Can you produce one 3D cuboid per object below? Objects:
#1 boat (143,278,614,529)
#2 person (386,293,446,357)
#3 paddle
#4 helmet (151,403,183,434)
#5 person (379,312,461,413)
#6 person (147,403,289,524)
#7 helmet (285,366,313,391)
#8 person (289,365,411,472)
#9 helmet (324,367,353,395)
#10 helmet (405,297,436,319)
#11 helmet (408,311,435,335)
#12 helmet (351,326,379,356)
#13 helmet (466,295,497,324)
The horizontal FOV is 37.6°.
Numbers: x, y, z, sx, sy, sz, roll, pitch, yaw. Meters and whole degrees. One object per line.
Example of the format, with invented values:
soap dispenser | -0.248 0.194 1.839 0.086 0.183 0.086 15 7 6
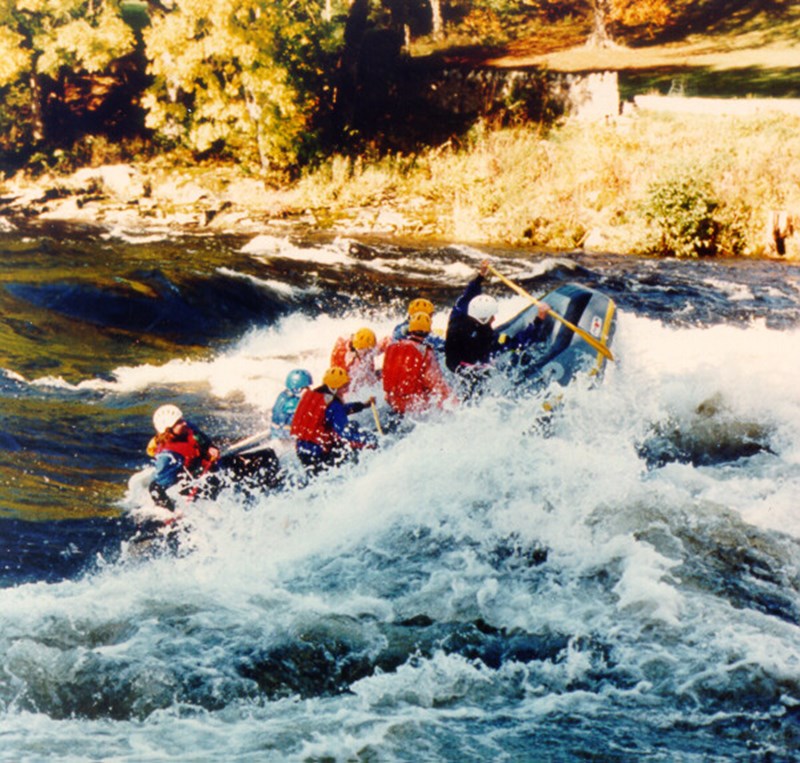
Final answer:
boat | 0.202 0.360 12.299 5.153 1.607 2.190 -20 30 -3
person | 0.283 -0.665 12.494 0.672 0.350 0.629 10 60 -9
paddle | 1.672 -0.710 12.924 2.254 0.175 0.233 34 67 28
helmet | -2.191 0.336 11.162 0.349 0.140 0.337 4 66 8
person | 0.146 -0.198 12.106 0.920 0.952 0.689 11 18 -1
person | -1.788 0.707 11.340 1.599 0.782 0.711 -3 41 -28
helmet | -0.995 -0.010 11.572 0.229 0.199 0.226 19 46 -4
person | -0.617 0.495 11.655 1.004 1.173 0.798 5 21 8
helmet | -0.613 0.010 11.245 0.248 0.242 0.263 13 38 0
helmet | 0.224 -0.791 12.304 0.335 0.266 0.349 3 -6 5
helmet | 0.226 -0.590 11.939 0.238 0.183 0.248 7 27 -3
helmet | -0.324 -0.442 12.347 0.289 0.277 0.287 9 47 -19
helmet | 0.810 -0.718 11.833 0.292 0.237 0.190 -29 56 -4
